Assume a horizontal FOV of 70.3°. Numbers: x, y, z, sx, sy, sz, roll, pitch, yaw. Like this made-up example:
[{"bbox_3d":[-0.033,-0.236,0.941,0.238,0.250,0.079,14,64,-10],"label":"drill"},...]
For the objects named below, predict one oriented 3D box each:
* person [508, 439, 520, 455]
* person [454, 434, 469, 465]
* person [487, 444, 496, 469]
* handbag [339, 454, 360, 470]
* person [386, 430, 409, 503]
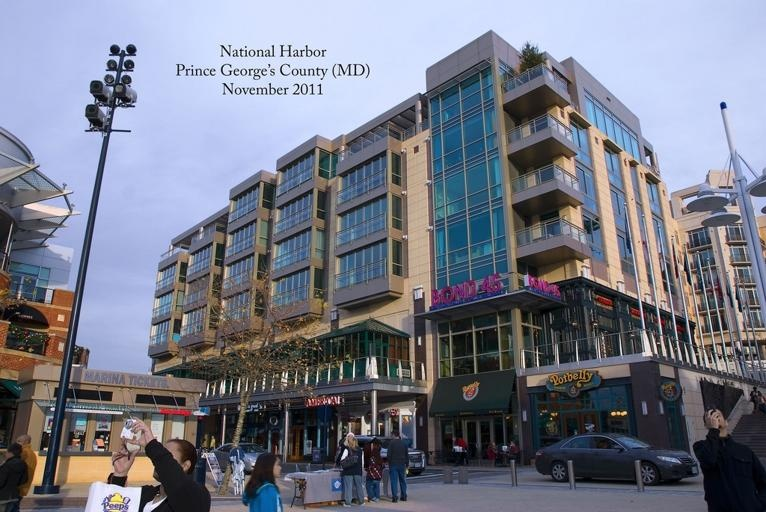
[{"bbox_3d":[7.894,11.519,32.670,0.435,1.246,0.644,7,-18,-14],"label":"person"},{"bbox_3d":[5.004,12.493,34.665,0.747,1.566,1.140,-4,-24,6],"label":"person"},{"bbox_3d":[6.783,12.401,33.819,0.685,1.144,0.537,-13,-26,25],"label":"person"},{"bbox_3d":[-1.145,6.980,18.419,0.587,0.578,0.321,-2,6,0],"label":"handbag"},{"bbox_3d":[0.517,7.802,19.759,0.674,2.112,1.020,-2,-23,0],"label":"person"}]
